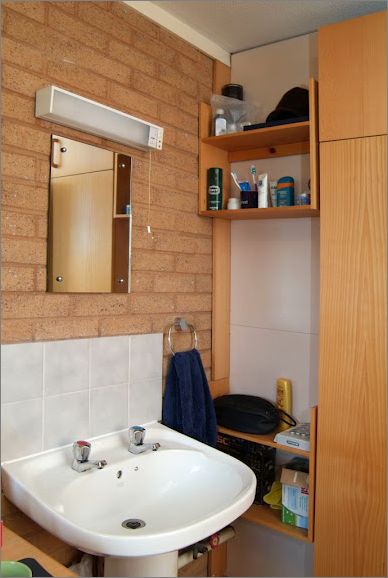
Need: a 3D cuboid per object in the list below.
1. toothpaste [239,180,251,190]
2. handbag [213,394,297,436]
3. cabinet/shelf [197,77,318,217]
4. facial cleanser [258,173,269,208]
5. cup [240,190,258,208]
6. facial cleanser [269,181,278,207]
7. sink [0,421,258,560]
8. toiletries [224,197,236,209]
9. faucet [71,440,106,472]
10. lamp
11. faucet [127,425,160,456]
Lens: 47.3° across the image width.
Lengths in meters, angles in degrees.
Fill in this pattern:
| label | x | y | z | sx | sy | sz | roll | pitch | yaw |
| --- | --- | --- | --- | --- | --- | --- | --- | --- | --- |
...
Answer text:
| label | x | y | z | sx | sy | sz | roll | pitch | yaw |
| --- | --- | --- | --- | --- | --- | --- | --- | --- | --- |
| toothpaste | 0.205 | -0.414 | 1.773 | 0.042 | 0.052 | 0.087 | -1 | 2 | 10 |
| handbag | 0.211 | 0.468 | 1.750 | 0.200 | 0.064 | 0.151 | 5 | 3 | 31 |
| cabinet/shelf | 0.277 | -0.516 | 1.761 | 0.461 | 0.458 | 0.189 | 2 | 1 | 36 |
| facial cleanser | 0.263 | -0.369 | 1.674 | 0.039 | 0.145 | 0.117 | -1 | 1 | 8 |
| cup | 0.219 | -0.355 | 1.789 | 0.074 | 0.089 | 0.077 | -1 | 0 | 0 |
| facial cleanser | 0.319 | -0.385 | 1.771 | 0.029 | 0.117 | 0.148 | -1 | 2 | 10 |
| sink | -0.135 | 0.517 | 1.171 | 0.545 | 0.174 | 0.577 | 0 | 2 | 42 |
| toiletries | 0.146 | -0.344 | 1.791 | 0.044 | 0.045 | 0.045 | 0 | -3 | 5 |
| faucet | -0.295 | 0.452 | 1.182 | 0.097 | 0.074 | 0.060 | 3 | 3 | 20 |
| lamp | -0.271 | -0.505 | 1.358 | 0.077 | 0.092 | 0.452 | 15 | 11 | 35 |
| faucet | -0.153 | 0.458 | 1.351 | 0.093 | 0.067 | 0.058 | 0 | -1 | 45 |
